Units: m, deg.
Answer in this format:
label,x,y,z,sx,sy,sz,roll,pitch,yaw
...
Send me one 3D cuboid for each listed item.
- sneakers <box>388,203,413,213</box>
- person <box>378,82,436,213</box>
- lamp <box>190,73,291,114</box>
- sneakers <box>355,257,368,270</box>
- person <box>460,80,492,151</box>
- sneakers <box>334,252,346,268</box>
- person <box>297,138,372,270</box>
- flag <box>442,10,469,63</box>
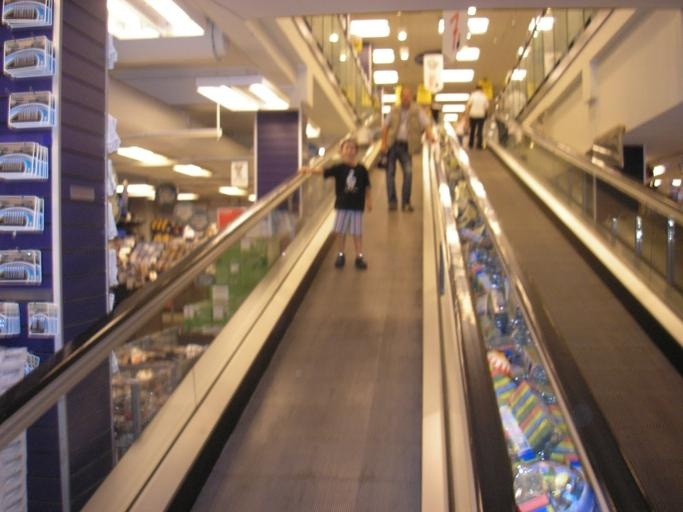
label,x,y,z,sx,sy,sz,roll,pitch,yaw
sneakers,0.824,-0.666,7.249,0.356,0.182,0.132,-1,12,6
person,0.891,-1.437,7.083,0.666,1.646,0.731,1,5,10
lamp,-1.756,-2.971,9.281,1.474,0.499,1.349,-1,6,-2
sneakers,0.204,0.066,5.461,0.141,0.160,0.081,-8,19,-13
person,2.984,-3.088,11.471,0.482,1.535,1.364,1,6,14
sneakers,-0.013,0.046,5.528,0.138,0.195,0.415,0,1,4
person,0.031,-0.600,5.766,0.560,1.381,0.811,0,5,4
flag,1.734,-3.393,7.899,0.355,0.748,0.618,1,6,14
